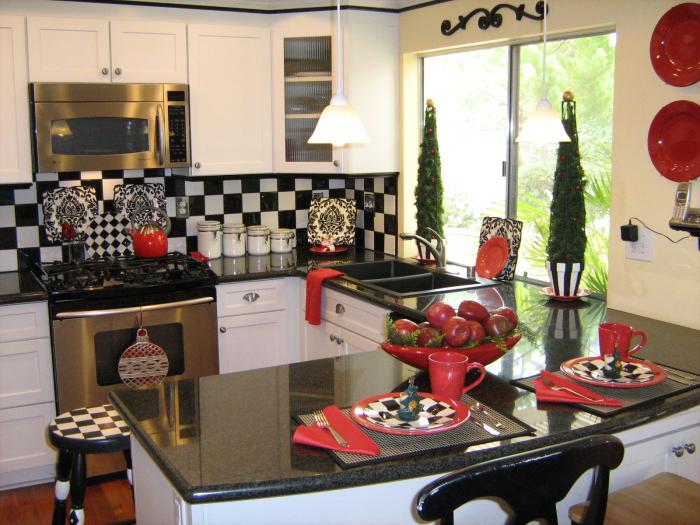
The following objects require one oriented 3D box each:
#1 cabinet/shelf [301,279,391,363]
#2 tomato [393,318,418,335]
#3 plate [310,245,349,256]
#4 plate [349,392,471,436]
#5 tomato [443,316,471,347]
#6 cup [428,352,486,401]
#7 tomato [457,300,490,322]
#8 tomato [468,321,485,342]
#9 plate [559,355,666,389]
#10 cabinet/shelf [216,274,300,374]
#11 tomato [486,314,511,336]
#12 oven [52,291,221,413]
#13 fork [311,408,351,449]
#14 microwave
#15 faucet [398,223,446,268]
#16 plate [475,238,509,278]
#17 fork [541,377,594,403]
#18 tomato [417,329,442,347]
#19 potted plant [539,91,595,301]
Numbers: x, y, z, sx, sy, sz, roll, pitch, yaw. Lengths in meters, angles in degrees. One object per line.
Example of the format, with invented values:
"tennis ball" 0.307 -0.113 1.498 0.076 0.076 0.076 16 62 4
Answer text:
"cabinet/shelf" -0.014 0.298 3.008 0.177 0.403 0.448 -10 18 -37
"tomato" 0.189 0.219 1.941 0.056 0.051 0.054 -5 -19 -12
"plate" -0.154 -0.107 4.070 0.286 0.057 0.193 -2 13 -6
"plate" 0.174 0.414 1.636 0.344 0.095 0.216 0 13 6
"tomato" 0.361 0.236 1.874 0.093 0.108 0.068 1 13 11
"cup" 0.353 0.353 1.777 0.198 0.143 0.127 1 5 -11
"tomato" 0.440 0.174 1.995 0.085 0.057 0.054 18 38 8
"tomato" 0.428 0.232 1.885 0.065 0.061 0.063 1 -12 4
"plate" 0.899 0.362 1.883 0.336 0.048 0.210 0 13 5
"cabinet/shelf" -0.635 0.336 3.853 0.614 0.856 0.574 -3 6 -24
"tomato" 0.508 0.210 1.933 0.075 0.072 0.068 -4 0 -10
"oven" -1.351 0.358 3.471 0.941 0.879 0.619 -3 5 -27
"fork" -0.064 0.466 1.577 0.035 0.029 0.212 -7 18 -13
"microwave" -1.449 -0.820 3.334 0.910 0.542 0.567 -6 14 -29
"faucet" 0.453 -0.096 3.403 0.250 0.274 0.492 1 13 11
"plate" 0.816 -0.029 3.195 0.082 0.243 0.194 -12 16 -40
"fork" 0.697 0.406 1.769 0.027 0.026 0.235 -10 12 -24
"tomato" 0.270 0.254 1.879 0.067 0.065 0.062 -1 3 8
"potted plant" 1.080 -0.285 2.741 0.175 0.962 0.098 3 13 21
